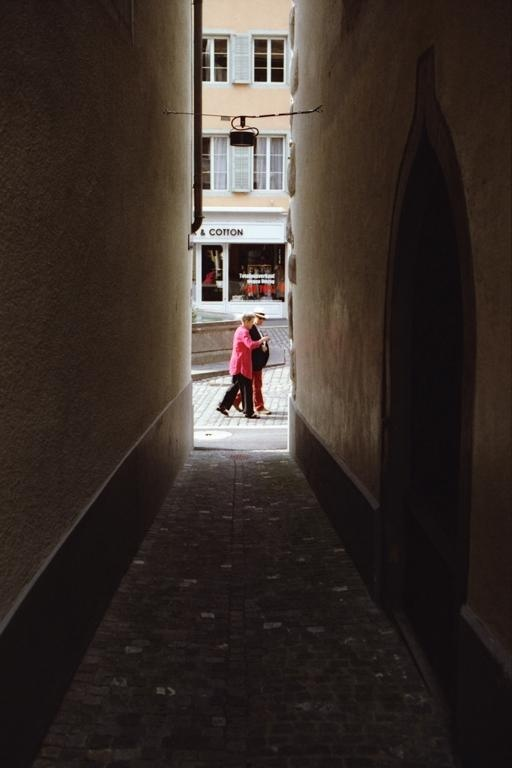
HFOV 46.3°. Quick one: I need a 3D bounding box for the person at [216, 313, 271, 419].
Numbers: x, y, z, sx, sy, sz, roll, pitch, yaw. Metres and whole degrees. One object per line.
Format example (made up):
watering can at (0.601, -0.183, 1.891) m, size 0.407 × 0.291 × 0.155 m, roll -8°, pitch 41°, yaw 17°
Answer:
person at (-0.272, -0.333, 12.165) m, size 0.743 × 1.822 × 1.096 m, roll 0°, pitch 0°, yaw -36°
